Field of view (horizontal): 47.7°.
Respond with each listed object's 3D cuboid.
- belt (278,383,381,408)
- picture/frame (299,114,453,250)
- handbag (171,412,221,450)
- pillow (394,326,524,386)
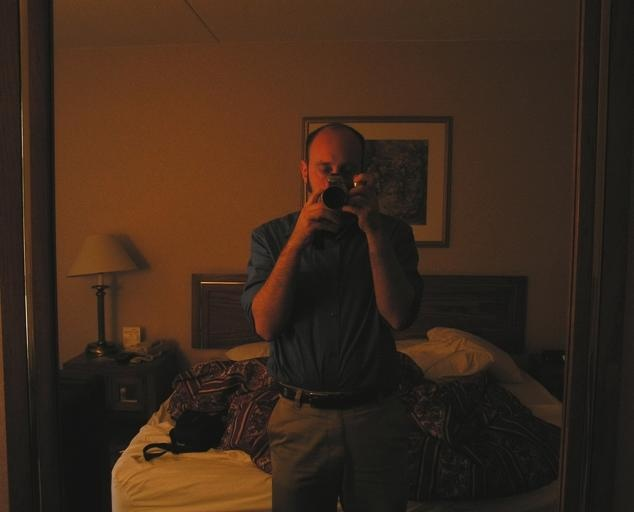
[{"bbox_3d":[0.030,0.289,1.486,0.224,0.058,0.011,-3,3,1],"label":"belt"},{"bbox_3d":[0.123,-0.166,1.481,0.229,0.259,0.016,1,4,4],"label":"picture/frame"},{"bbox_3d":[-0.248,0.361,1.485,0.083,0.078,0.030,3,-8,15],"label":"handbag"},{"bbox_3d":[0.302,0.180,1.487,0.151,0.054,0.145,0,16,-11],"label":"pillow"}]
